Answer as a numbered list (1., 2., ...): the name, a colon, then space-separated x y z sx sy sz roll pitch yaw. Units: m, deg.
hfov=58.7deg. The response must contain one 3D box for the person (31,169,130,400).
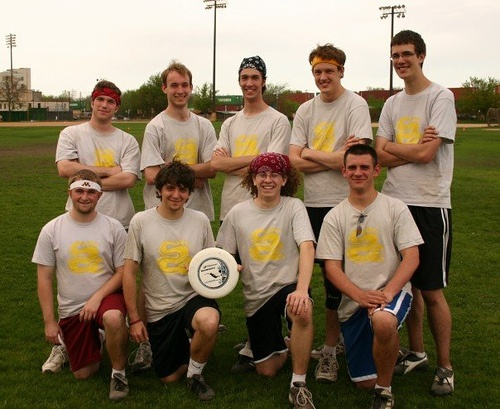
1. person: -1.665 0.731 4.643 1.192 2.078 0.837 8 14 36

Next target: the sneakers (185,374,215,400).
1. sneakers: -0.477 1.757 4.314 0.126 0.147 0.318 -2 5 -34

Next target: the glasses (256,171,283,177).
1. glasses: 0.198 -0.318 4.700 0.250 0.080 0.070 0 12 -1

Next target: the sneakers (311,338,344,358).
1. sneakers: 0.923 1.710 5.345 0.502 0.231 0.168 5 -6 -36

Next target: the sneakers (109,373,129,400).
1. sneakers: -1.258 1.731 4.257 0.177 0.169 0.226 -2 12 -9

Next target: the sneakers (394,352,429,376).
1. sneakers: 1.736 1.706 4.870 0.449 0.220 0.166 -11 -12 -23

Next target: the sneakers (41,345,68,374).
1. sneakers: -2.120 1.682 4.812 0.126 0.153 0.341 2 -8 -1

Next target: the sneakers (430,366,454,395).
1. sneakers: 1.901 1.740 4.384 0.123 0.138 0.338 -5 -5 23

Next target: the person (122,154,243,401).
1. person: -0.773 0.878 4.666 1.118 1.852 0.822 7 13 30

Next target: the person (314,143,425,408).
1. person: 1.237 0.637 4.436 0.811 2.389 1.082 -5 13 -25
